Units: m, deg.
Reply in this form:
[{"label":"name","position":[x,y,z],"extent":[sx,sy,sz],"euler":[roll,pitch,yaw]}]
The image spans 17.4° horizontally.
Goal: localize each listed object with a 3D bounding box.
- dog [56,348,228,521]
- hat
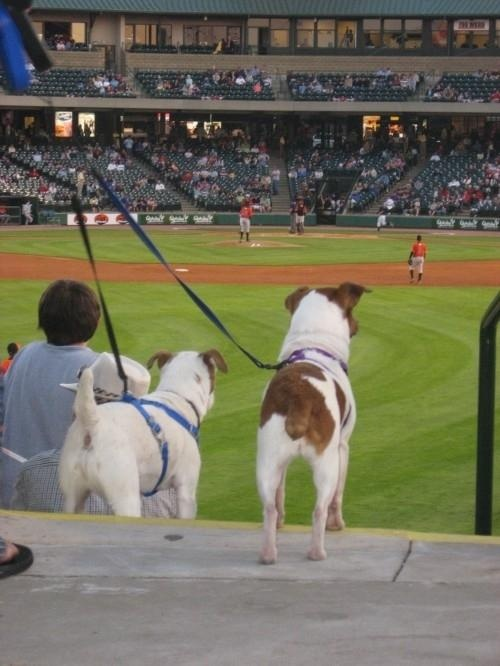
[{"label":"dog","position":[-0.577,0.649,9.131],"extent":[0.500,1.050,1.375],"euler":[4,4,28]},{"label":"hat","position":[-0.746,0.253,9.185],"extent":[0.268,0.214,0.409],"euler":[5,-1,-27]}]
